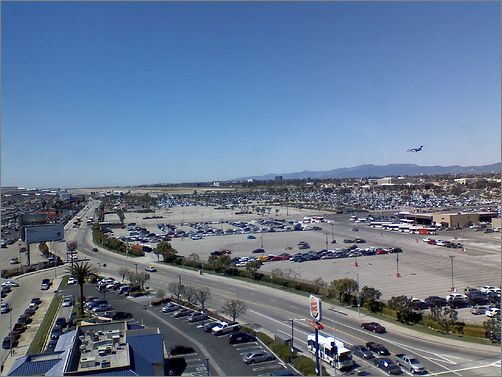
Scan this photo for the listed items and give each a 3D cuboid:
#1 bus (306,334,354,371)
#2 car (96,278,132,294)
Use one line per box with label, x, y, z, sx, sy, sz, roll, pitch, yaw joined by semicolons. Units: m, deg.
bus;5.267;10.606;24.137;1.187;1.270;3.271;1;-6;-21
car;-14.828;10.660;39.791;2.899;0.868;1.671;6;-5;-19
